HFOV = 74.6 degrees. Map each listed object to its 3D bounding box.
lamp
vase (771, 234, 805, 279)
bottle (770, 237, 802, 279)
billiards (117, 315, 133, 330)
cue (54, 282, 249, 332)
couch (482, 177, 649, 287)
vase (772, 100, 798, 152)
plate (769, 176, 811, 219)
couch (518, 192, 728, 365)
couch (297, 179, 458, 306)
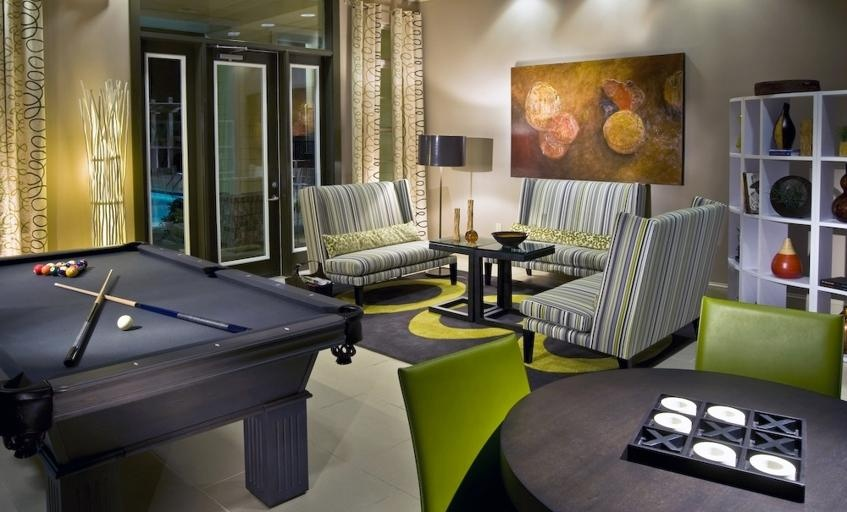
[{"bbox_3d":[0.212,-0.802,6.793,0.623,1.293,0.568,6,13,21],"label":"lamp"},{"bbox_3d":[3.163,0.016,4.829,0.261,0.334,0.245,-11,13,-4],"label":"vase"},{"bbox_3d":[3.173,0.032,4.846,0.243,0.317,0.249,4,-5,0],"label":"bottle"},{"bbox_3d":[-1.533,0.335,2.878,0.080,0.041,0.077,2,15,20],"label":"billiards"},{"bbox_3d":[-1.514,0.292,3.094,1.091,0.041,0.038,10,51,11],"label":"cue"},{"bbox_3d":[1.584,-0.224,6.409,0.956,1.164,1.727,-11,16,-38],"label":"couch"},{"bbox_3d":[3.133,-1.131,4.831,0.156,0.412,0.357,7,14,30],"label":"vase"},{"bbox_3d":[3.106,-0.508,4.705,0.358,0.334,0.073,-1,5,43],"label":"plate"},{"bbox_3d":[1.757,0.169,4.845,1.204,1.127,1.730,-1,4,42],"label":"couch"},{"bbox_3d":[-0.497,-0.227,6.437,1.246,1.116,1.551,10,17,35],"label":"couch"}]
